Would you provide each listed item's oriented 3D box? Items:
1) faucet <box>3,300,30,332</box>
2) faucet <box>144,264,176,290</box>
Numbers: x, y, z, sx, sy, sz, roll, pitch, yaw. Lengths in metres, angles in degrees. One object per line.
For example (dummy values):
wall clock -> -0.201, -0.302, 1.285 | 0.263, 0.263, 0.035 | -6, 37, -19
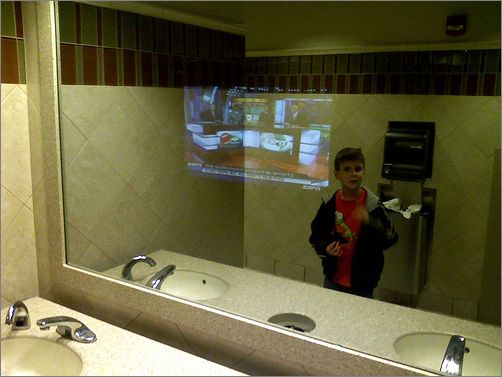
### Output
faucet -> -0.818, 0.452, 1.382 | 0.073, 0.099, 0.074 | -2, 13, -29
faucet -> -0.305, 0.301, 1.347 | 0.132, 0.031, 0.029 | -30, 58, -8
